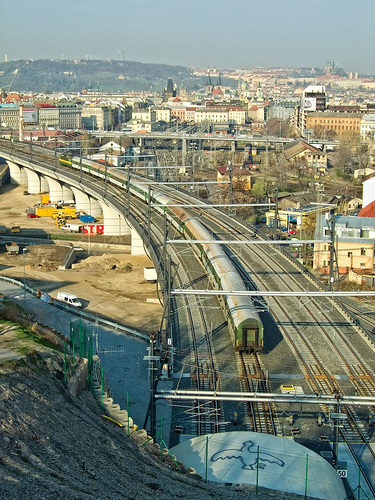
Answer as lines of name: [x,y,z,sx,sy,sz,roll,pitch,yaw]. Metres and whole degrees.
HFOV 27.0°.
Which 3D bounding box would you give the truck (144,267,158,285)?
truck: [-2.631,1.831,54.338,1.075,0.670,1.048,0,3,-1]
